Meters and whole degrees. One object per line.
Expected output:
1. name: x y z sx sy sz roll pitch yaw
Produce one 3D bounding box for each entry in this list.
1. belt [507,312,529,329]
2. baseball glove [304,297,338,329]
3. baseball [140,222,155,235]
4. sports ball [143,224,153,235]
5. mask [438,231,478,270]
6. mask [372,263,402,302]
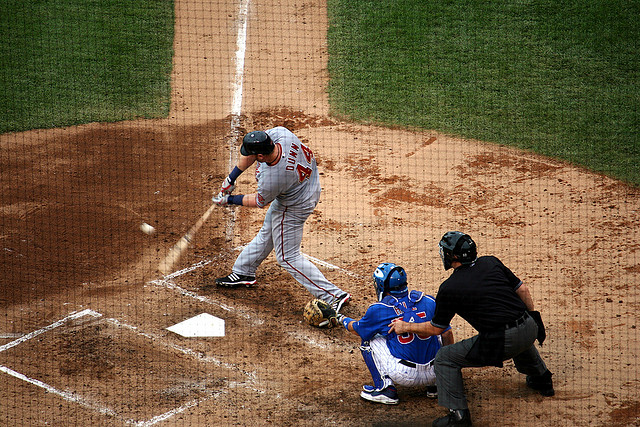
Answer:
1. belt: 3.028 1.623 14.223 0.236 0.051 0.230 -22 -2 30
2. baseball glove: 0.095 1.743 15.891 0.621 0.408 0.436 31 0 -14
3. baseball: -3.167 0.252 17.152 0.185 0.096 0.245 29 -16 -36
4. sports ball: -3.147 0.273 17.137 0.194 0.156 0.169 -7 37 -17
5. mask: 2.240 0.529 14.545 0.578 0.557 0.683 -14 13 -18
6. mask: 1.109 1.058 14.656 0.499 0.492 0.577 -4 15 -10
